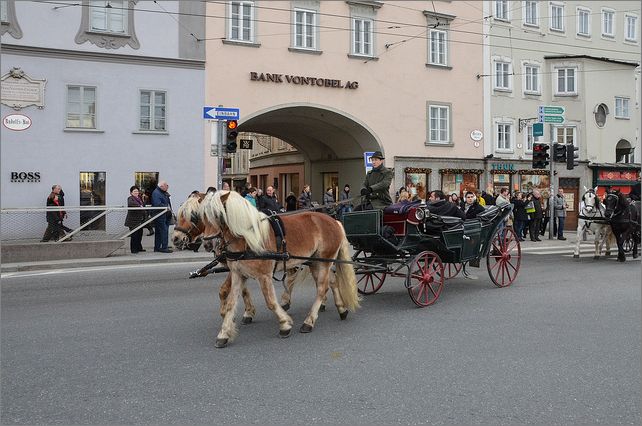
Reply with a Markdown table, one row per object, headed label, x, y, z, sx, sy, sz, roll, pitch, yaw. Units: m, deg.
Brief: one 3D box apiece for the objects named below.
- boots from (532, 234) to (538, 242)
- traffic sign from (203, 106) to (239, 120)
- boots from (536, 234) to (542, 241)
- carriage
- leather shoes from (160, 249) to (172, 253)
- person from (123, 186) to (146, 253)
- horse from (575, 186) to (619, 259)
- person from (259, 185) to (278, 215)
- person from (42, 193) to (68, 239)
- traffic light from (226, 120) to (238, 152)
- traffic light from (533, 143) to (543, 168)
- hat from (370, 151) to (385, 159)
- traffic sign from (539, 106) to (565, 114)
| label | x | y | z | sx | sy | sz | roll | pitch | yaw |
| --- | --- | --- | --- | --- | --- | --- | --- | --- | --- |
| boots | 9.310 | 1.096 | 30.261 | 0.190 | 0.255 | 0.593 | -5 | -13 | 21 |
| traffic sign | -3.470 | -3.441 | 23.815 | 1.109 | 0.519 | 0.792 | 1 | 3 | 32 |
| boots | 9.684 | 1.104 | 30.917 | 0.177 | 0.401 | 0.552 | 4 | 11 | 32 |
| carriage | 0.618 | 0.919 | 17.476 | 10.409 | 3.957 | 3.216 | 0 | -3 | -39 |
| leather shoes | -5.415 | 1.336 | 24.228 | 0.388 | 0.175 | 0.142 | 0 | -1 | -4 |
| person | -6.529 | 0.285 | 24.253 | 0.680 | 2.227 | 0.790 | -1 | 2 | -17 |
| horse | 9.985 | 0.402 | 25.075 | 0.826 | 2.405 | 3.815 | 3 | 0 | 37 |
| person | -1.884 | -0.386 | 25.605 | 0.575 | 1.174 | 0.886 | -3 | 2 | 41 |
| person | -8.894 | 0.128 | 22.989 | 0.683 | 1.640 | 0.996 | 22 | 27 | 34 |
| traffic light | -3.101 | -2.614 | 23.734 | 0.357 | 1.117 | 0.319 | 0 | 2 | -1 |
| traffic light | 9.287 | -2.477 | 29.659 | 0.388 | 0.932 | 0.523 | 0 | 2 | 14 |
| hat | 1.430 | -1.473 | 17.767 | 0.405 | 0.192 | 0.462 | 0 | 6 | -16 |
| traffic sign | 9.925 | -4.409 | 29.894 | 0.978 | 0.407 | 0.544 | 0 | 2 | 8 |
